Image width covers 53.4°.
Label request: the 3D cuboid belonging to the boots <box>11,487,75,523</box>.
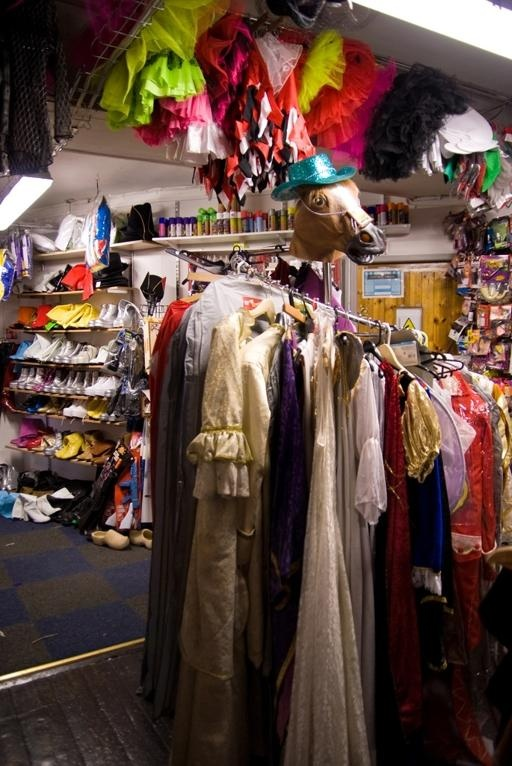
[{"bbox_3d":[-1.874,1.059,4.392,0.313,0.163,0.326,2,-2,-34],"label":"boots"}]

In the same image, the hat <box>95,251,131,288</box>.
[{"bbox_3d":[-1.245,-0.967,4.375,0.275,0.314,0.228,-2,6,-22],"label":"hat"}]

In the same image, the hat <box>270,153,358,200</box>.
[{"bbox_3d":[0.163,-0.623,1.486,0.226,0.166,0.260,1,6,2],"label":"hat"}]

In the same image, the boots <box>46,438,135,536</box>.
[{"bbox_3d":[-1.266,0.806,4.067,0.291,0.876,0.595,18,-7,-23],"label":"boots"}]

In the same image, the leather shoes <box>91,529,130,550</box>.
[{"bbox_3d":[-1.035,1.097,3.647,0.224,0.104,0.131,16,0,35],"label":"leather shoes"}]
